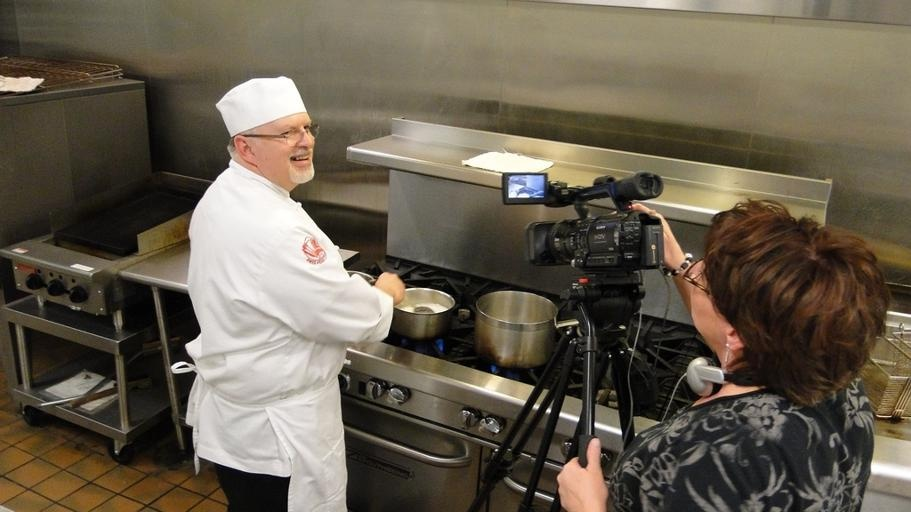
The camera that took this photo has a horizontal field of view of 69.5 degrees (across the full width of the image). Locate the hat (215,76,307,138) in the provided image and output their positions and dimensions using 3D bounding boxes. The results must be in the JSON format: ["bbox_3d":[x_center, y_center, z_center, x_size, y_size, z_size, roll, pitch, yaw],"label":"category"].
[{"bbox_3d":[-0.848,-0.625,2.843,0.316,0.147,0.293,-19,13,12],"label":"hat"}]

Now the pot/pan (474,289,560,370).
[{"bbox_3d":[0.291,0.333,3.136,0.409,0.223,0.383,8,25,16],"label":"pot/pan"}]
